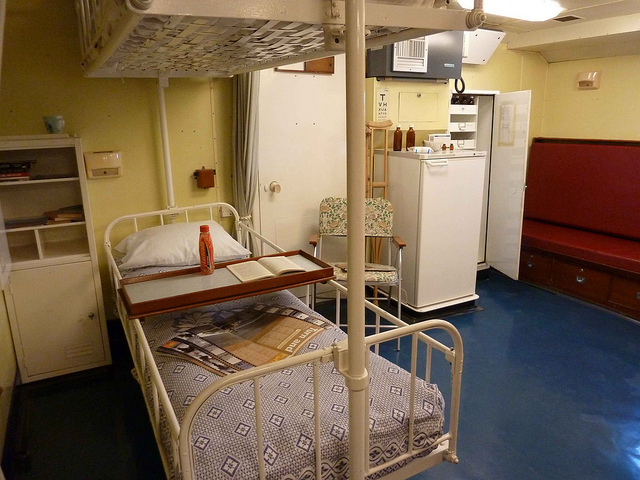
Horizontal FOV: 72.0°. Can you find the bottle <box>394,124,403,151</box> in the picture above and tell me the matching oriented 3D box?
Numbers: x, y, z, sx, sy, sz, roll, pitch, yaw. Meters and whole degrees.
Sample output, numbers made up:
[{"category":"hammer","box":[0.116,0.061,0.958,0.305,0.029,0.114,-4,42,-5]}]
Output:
[{"category":"bottle","box":[0.764,-0.997,4.315,0.063,0.247,0.150,1,15,10]}]

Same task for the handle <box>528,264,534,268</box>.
[{"category":"handle","box":[2.388,0.285,4.974,0.026,0.035,0.050,-4,11,-24]}]

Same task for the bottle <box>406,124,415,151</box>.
[{"category":"bottle","box":[0.887,-0.997,4.300,0.068,0.227,0.167,1,15,9]}]

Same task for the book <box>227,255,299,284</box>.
[{"category":"book","box":[-0.361,0.174,2.679,0.253,0.038,0.181,-12,26,-22]}]

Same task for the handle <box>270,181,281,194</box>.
[{"category":"handle","box":[-0.391,-0.472,3.931,0.083,0.087,0.020,-18,11,-34]}]

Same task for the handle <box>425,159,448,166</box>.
[{"category":"handle","box":[1.043,-0.686,3.931,0.227,0.058,0.022,-6,15,-19]}]

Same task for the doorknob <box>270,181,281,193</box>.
[{"category":"doorknob","box":[-0.392,-0.468,3.956,0.104,0.105,0.053,-15,20,-41]}]

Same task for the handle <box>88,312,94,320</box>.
[{"category":"handle","box":[-1.725,0.571,3.339,0.035,0.049,0.008,-6,15,-17]}]

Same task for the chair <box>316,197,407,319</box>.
[{"category":"chair","box":[0.326,0.197,3.798,0.793,1.049,0.758,0,10,-10]}]

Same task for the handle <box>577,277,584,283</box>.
[{"category":"handle","box":[2.662,0.408,4.503,0.002,0.057,0.061,-11,18,-33]}]

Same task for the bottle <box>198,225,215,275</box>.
[{"category":"bottle","box":[-0.696,0.049,2.695,0.090,0.311,0.198,-5,15,-14]}]
